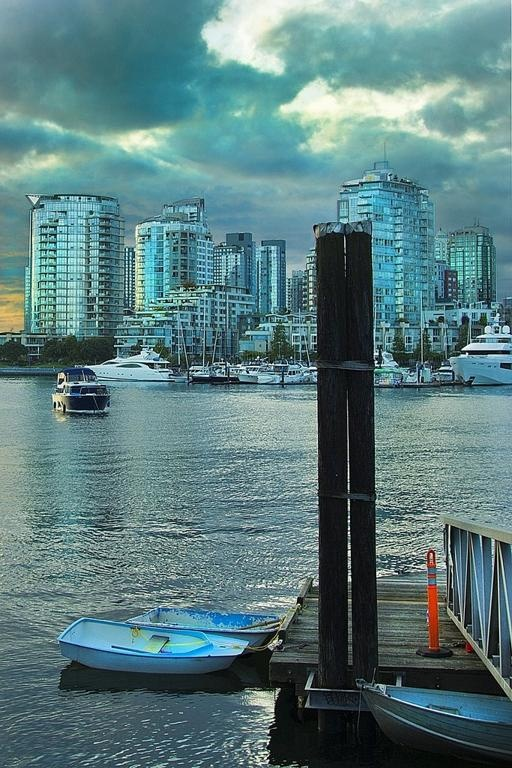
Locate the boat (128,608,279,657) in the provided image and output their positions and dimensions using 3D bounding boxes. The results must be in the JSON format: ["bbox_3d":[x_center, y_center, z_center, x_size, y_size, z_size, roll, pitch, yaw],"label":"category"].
[{"bbox_3d":[-0.716,3.484,13.548,1.927,0.438,0.860,-1,-3,11],"label":"boat"}]

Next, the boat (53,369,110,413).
[{"bbox_3d":[-14.737,0.371,77.151,4.240,3.613,6.806,-2,2,-14],"label":"boat"}]

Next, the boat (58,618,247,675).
[{"bbox_3d":[-1.465,3.661,12.921,2.413,0.542,0.985,4,9,8],"label":"boat"}]

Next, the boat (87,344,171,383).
[{"bbox_3d":[-17.419,-3.104,153.252,17.714,6.095,5.165,-1,7,4],"label":"boat"}]
